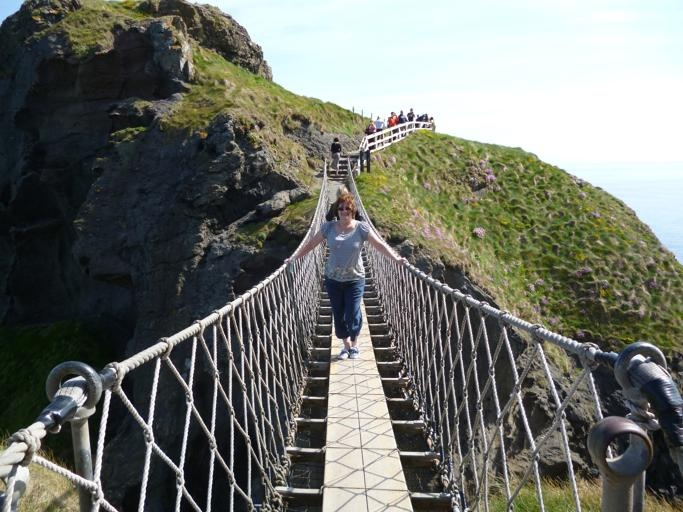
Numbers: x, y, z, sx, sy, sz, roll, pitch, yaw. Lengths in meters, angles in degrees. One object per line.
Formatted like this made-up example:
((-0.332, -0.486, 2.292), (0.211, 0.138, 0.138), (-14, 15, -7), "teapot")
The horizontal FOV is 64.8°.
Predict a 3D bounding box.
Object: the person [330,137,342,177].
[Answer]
((-0.232, -4.066, 22.397), (0.420, 1.696, 1.122), (4, -4, -1), "person")

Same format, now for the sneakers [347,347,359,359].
((0.162, 1.481, 8.262), (0.110, 0.149, 0.340), (-2, -9, 0), "sneakers")
